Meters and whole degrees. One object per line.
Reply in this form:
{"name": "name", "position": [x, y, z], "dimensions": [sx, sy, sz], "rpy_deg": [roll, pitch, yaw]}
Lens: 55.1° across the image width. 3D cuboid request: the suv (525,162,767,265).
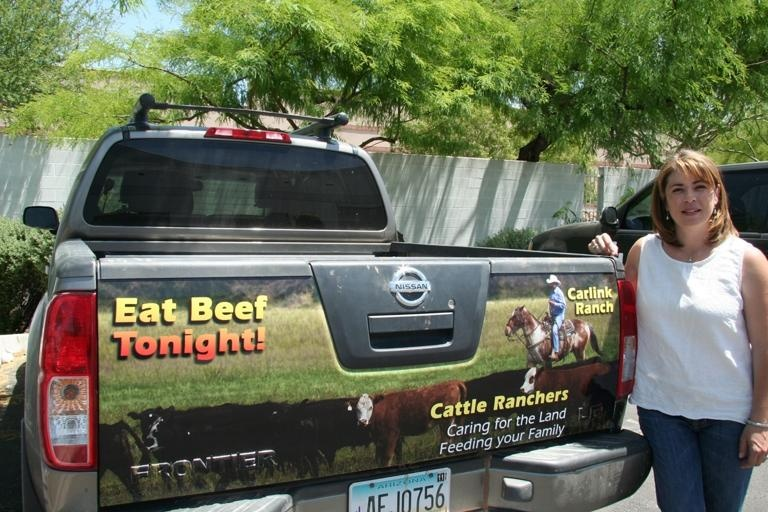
{"name": "suv", "position": [3.300, -0.488, 9.117], "dimensions": [2.876, 1.219, 1.344], "rpy_deg": [5, 4, 43]}
